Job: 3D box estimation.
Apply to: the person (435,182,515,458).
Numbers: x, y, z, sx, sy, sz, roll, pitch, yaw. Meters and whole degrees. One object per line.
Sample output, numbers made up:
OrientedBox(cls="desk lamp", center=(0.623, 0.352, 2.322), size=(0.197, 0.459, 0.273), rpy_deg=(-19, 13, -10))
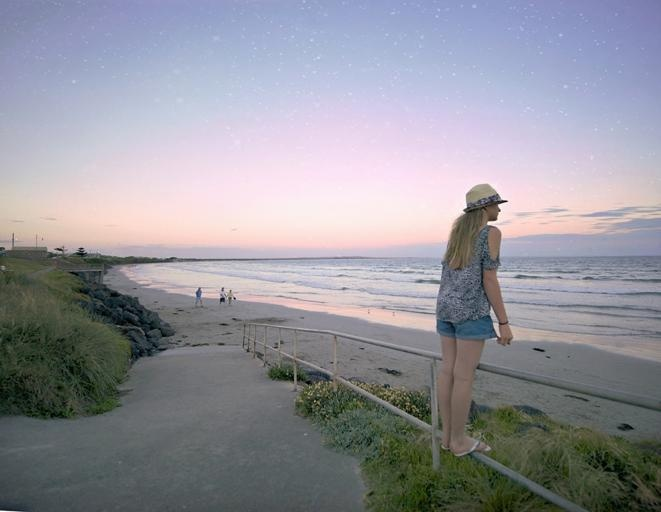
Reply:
OrientedBox(cls="person", center=(1.264, 0.607, 3.779), size=(0.615, 2.532, 0.459), rpy_deg=(-1, -2, 16))

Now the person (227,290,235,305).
OrientedBox(cls="person", center=(-8.295, 3.408, 34.908), size=(0.396, 1.279, 0.830), rpy_deg=(3, 9, 18))

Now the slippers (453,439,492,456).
OrientedBox(cls="slippers", center=(1.322, 1.762, 3.885), size=(0.351, 0.101, 0.159), rpy_deg=(-3, -5, -9))
